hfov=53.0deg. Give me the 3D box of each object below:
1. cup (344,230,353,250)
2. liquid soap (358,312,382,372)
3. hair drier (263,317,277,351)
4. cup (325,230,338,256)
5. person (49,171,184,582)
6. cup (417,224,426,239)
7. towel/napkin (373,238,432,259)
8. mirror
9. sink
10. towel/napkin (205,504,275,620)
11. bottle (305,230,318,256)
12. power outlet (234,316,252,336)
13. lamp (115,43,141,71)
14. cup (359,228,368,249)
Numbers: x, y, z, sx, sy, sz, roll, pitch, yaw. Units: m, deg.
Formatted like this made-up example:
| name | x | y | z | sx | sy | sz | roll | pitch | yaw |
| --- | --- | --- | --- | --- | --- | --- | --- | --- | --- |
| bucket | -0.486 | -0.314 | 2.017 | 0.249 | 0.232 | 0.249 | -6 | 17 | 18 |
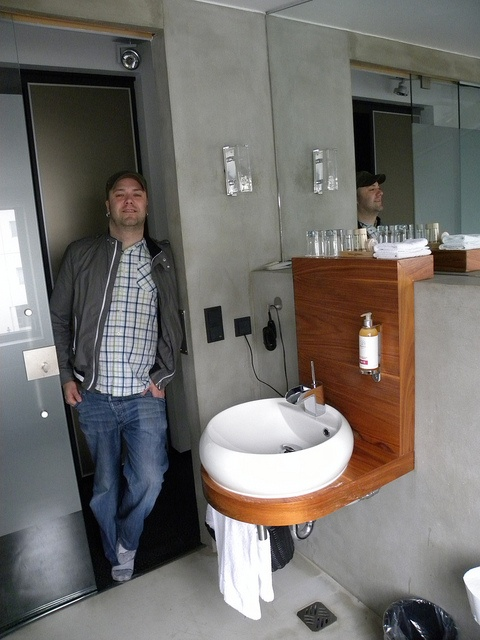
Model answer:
| name | x | y | z | sx | sy | sz | roll | pitch | yaw |
| --- | --- | --- | --- | --- | --- | --- | --- | --- | --- |
| cup | 0.361 | -0.266 | 1.600 | 0.034 | 0.066 | 0.087 | -3 | 7 | 12 |
| liquid soap | 0.367 | 0.063 | 1.363 | 0.060 | 0.176 | 0.099 | -2 | 7 | 20 |
| hair drier | 0.127 | 0.063 | 2.115 | 0.030 | 0.144 | 0.082 | -9 | 7 | -39 |
| cup | 0.315 | -0.264 | 1.656 | 0.063 | 0.090 | 0.034 | 0 | 7 | 39 |
| person | -0.554 | 0.255 | 2.151 | 0.495 | 1.816 | 0.453 | 1 | 4 | 2 |
| cup | 0.580 | -0.286 | 1.549 | 0.030 | 0.052 | 0.031 | -1 | 14 | 0 |
| towel/napkin | 0.441 | -0.194 | 1.324 | 0.149 | 0.048 | 0.113 | -3 | 8 | 22 |
| mirror | 0.553 | -0.828 | 2.136 | 0.816 | 1.478 | 0.615 | -3 | 10 | -9 |
| sink | 0.089 | 0.369 | 1.401 | 0.419 | 0.151 | 0.464 | -11 | 9 | -32 |
| towel/napkin | -0.010 | 0.692 | 1.426 | 0.103 | 0.298 | 0.313 | -8 | 7 | -34 |
| bottle | 0.266 | -0.278 | 1.758 | 0.037 | 0.089 | 0.105 | -4 | 7 | 5 |
| power outlet | 0.017 | 0.031 | 2.190 | 0.018 | 0.094 | 0.105 | 1 | 9 | 42 |
| lamp | -0.588 | -1.407 | 2.562 | 0.137 | 0.128 | 0.051 | -10 | 8 | -38 |
| cup | 0.405 | -0.268 | 1.585 | 0.021 | 0.066 | 0.054 | -2 | 7 | 16 |
